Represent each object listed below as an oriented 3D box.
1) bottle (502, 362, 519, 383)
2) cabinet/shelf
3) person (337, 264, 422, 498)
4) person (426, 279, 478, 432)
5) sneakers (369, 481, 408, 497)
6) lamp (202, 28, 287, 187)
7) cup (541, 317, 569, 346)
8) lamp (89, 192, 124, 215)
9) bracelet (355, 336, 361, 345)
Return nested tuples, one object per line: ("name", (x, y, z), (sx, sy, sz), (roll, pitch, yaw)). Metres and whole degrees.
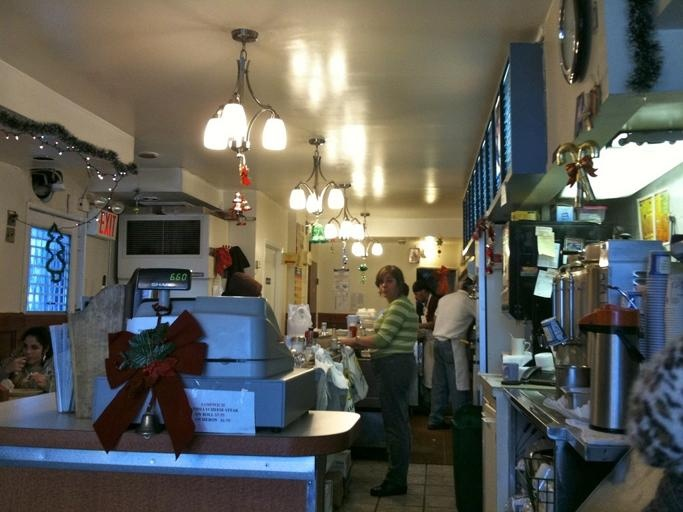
("bottle", (0.920, 0.632, 3.066), (0.094, 0.094, 0.077), (-2, -2, -3))
("cabinet/shelf", (-2.080, -0.136, 6.723), (0.800, 0.593, 0.412), (0, -5, 3))
("person", (0.350, 0.951, 4.393), (0.516, 1.749, 0.491), (-2, -2, 1))
("person", (1.238, 1.187, 6.329), (0.326, 1.591, 0.635), (0, -3, -36))
("sneakers", (0.349, 1.774, 4.323), (0.294, 0.118, 0.108), (4, -8, 0))
("lamp", (-0.618, -0.999, 3.688), (0.516, 0.914, 0.529), (-3, 4, -38))
("cup", (0.934, 0.335, 2.478), (0.099, 0.132, 0.206), (-3, -2, 22))
("lamp", (-2.898, -0.640, 6.887), (0.373, 0.263, 0.605), (-1, -2, -25))
("bracelet", (0.130, 0.664, 4.432), (0.047, 0.060, 0.022), (-4, 4, -4))
